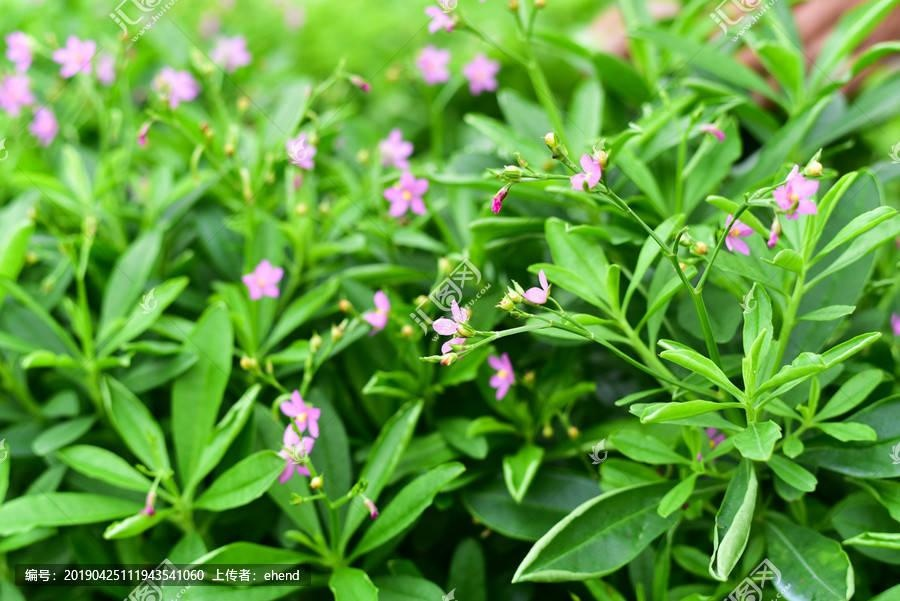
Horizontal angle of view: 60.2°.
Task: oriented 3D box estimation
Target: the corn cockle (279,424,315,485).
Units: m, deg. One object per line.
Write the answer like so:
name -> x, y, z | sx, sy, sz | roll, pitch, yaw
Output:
corn cockle -> -0.260, 0.249, 1.292 | 0.064, 0.031, 0.044 | -12, 9, -12

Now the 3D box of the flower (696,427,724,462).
flower -> 0.467, 0.255, 1.389 | 0.056, 0.018, 0.061 | -28, 40, 24
